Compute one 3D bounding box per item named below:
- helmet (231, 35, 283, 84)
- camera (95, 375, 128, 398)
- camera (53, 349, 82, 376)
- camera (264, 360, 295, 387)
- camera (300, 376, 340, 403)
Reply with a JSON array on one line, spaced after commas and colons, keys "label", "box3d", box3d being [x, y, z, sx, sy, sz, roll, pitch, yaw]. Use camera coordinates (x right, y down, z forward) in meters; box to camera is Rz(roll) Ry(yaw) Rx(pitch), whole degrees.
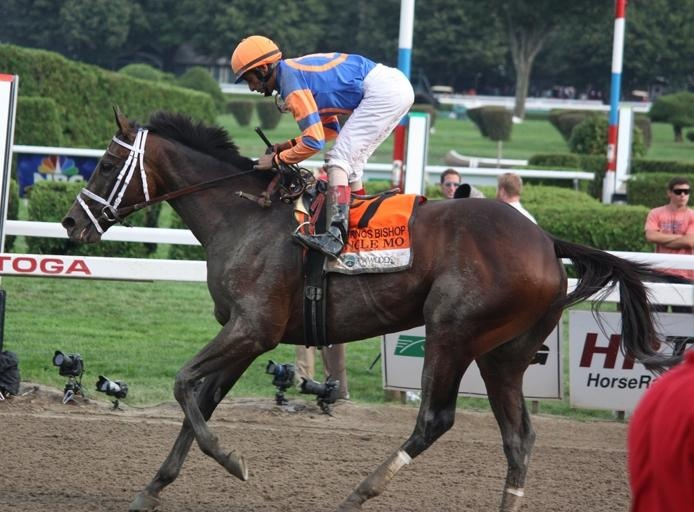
[{"label": "helmet", "box3d": [-0.752, -1.573, 11.360, 0.393, 0.325, 0.287, -35, 12, 6]}, {"label": "camera", "box3d": [-2.087, 1.157, 12.552, 0.260, 0.169, 0.188, 13, 25, -30]}, {"label": "camera", "box3d": [-2.479, 0.958, 12.597, 0.266, 0.187, 0.195, 25, -2, -42]}, {"label": "camera", "box3d": [-0.610, 1.030, 12.762, 0.260, 0.196, 0.259, 2, 10, 8]}, {"label": "camera", "box3d": [-0.235, 1.196, 12.657, 0.291, 0.136, 0.201, 3, 11, -15]}]
